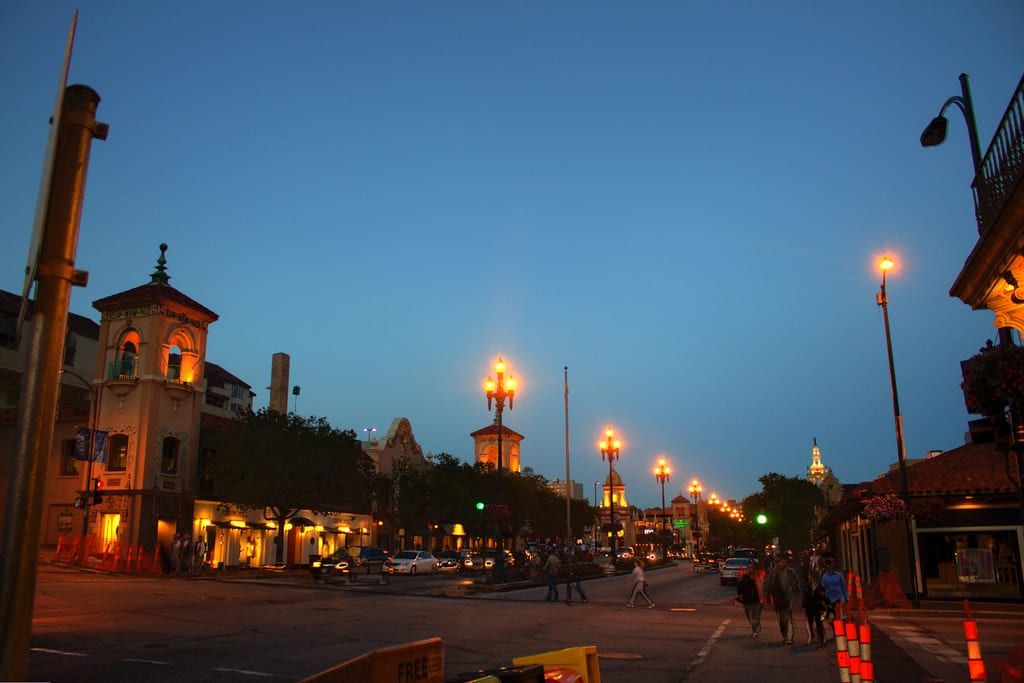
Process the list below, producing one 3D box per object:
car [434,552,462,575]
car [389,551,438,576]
[{"bbox_3d":[-5.057,17.205,64.865,1.915,1.048,3.120,1,-17,-5],"label":"car"},{"bbox_3d":[-6.841,14.879,56.481,1.564,1.736,5.315,-7,-20,15],"label":"car"}]
